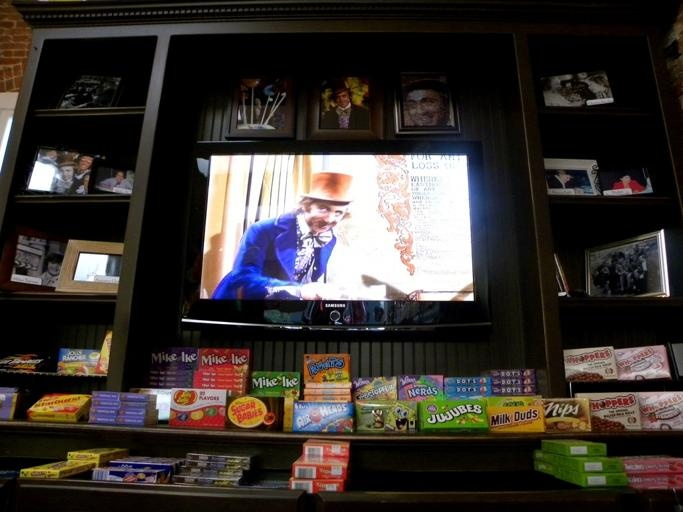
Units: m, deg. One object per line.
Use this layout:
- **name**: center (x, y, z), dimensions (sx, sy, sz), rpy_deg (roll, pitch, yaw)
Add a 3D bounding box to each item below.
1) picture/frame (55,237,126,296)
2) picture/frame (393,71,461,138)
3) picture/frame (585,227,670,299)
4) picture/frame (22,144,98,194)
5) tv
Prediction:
- **picture/frame**: center (-1.331, 0.070, 2.721), dimensions (0.373, 0.271, 0.022), rpy_deg (3, -28, -8)
- **picture/frame**: center (0.491, -0.855, 2.961), dimensions (0.496, 0.458, 0.037), rpy_deg (0, -23, -1)
- **picture/frame**: center (1.522, 0.053, 2.711), dimensions (0.388, 0.343, 0.038), rpy_deg (-10, -35, 34)
- **picture/frame**: center (-1.555, -0.463, 2.810), dimensions (0.343, 0.305, 0.033), rpy_deg (-3, -15, -18)
- **tv**: center (-0.014, -0.070, 2.728), dimensions (1.276, 0.721, 0.052), rpy_deg (0, -14, -1)
